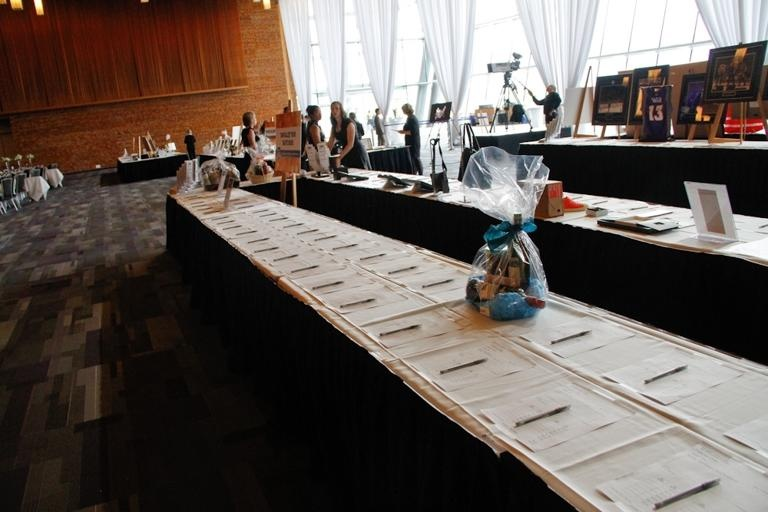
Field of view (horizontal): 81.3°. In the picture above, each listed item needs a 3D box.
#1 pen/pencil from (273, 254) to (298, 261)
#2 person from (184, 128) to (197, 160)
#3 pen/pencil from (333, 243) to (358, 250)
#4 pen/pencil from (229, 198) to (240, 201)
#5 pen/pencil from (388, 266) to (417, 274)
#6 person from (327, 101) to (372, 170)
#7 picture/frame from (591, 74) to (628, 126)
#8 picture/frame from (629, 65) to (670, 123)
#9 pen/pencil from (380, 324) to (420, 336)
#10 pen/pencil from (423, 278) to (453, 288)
[{"bbox_3d":[-0.554,0.009,2.523,0.099,0.013,0.016,-11,19,-15],"label":"pen/pencil"},{"bbox_3d":[-5.483,-3.152,12.615,0.276,0.724,1.168,-13,22,-20],"label":"person"},{"bbox_3d":[-0.224,-0.054,2.628,0.128,0.021,0.022,-9,1,-24],"label":"pen/pencil"},{"bbox_3d":[-1.406,-0.527,4.192,0.017,0.022,0.075,-19,1,8],"label":"pen/pencil"},{"bbox_3d":[0.095,0.071,2.236,0.125,0.020,0.017,-10,7,-25],"label":"pen/pencil"},{"bbox_3d":[-0.501,-1.644,6.116,0.545,0.909,1.559,-7,20,-4],"label":"person"},{"bbox_3d":[2.515,-1.713,4.952,0.463,0.551,0.279,13,27,42],"label":"picture/frame"},{"bbox_3d":[2.670,-1.639,4.577,0.208,0.550,0.498,-6,20,-1],"label":"picture/frame"},{"bbox_3d":[0.063,0.290,1.741,0.135,0.015,0.018,-8,19,-24],"label":"pen/pencil"},{"bbox_3d":[0.252,0.126,2.069,0.127,0.014,0.015,-11,-9,-24],"label":"pen/pencil"}]
